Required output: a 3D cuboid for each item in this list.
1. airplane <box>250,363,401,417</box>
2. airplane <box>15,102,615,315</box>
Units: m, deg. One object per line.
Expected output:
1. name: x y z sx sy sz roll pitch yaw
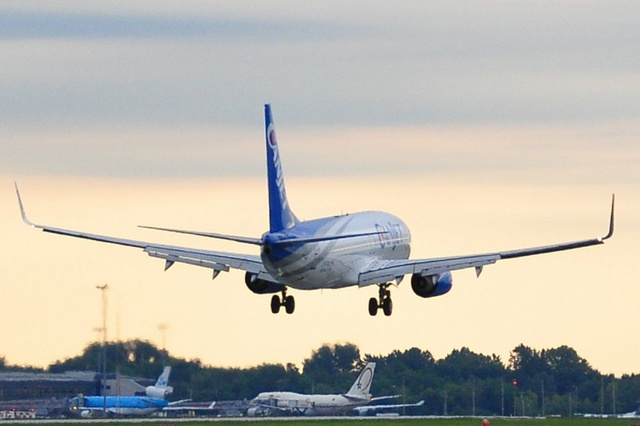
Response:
1. airplane: -0.798 19.926 199.857 11.608 3.801 10.356 -1 10 -3
2. airplane: 1.056 2.502 168.260 54.604 14.120 41.383 0 -1 16
